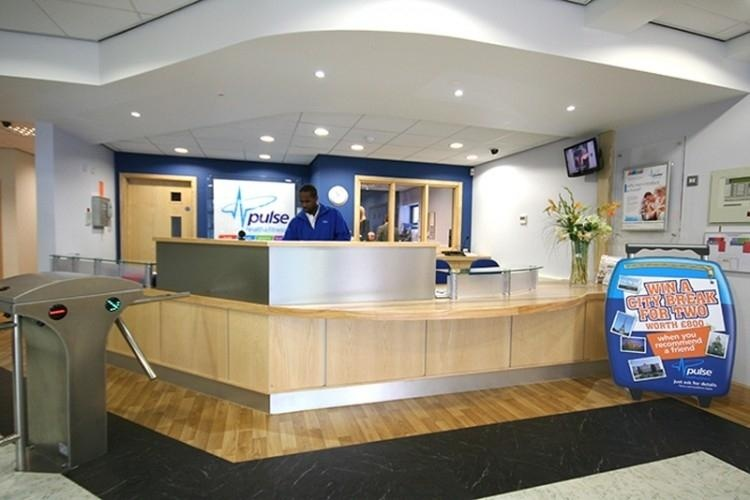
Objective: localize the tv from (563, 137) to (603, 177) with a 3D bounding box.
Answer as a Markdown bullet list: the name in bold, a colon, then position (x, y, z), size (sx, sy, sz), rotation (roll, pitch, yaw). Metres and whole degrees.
- **tv**: position (2.732, -1.210, 6.274), size (0.065, 0.507, 0.591), rotation (-8, 1, -24)

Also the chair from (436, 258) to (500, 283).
- **chair**: position (1.218, 0.211, 6.090), size (0.719, 0.320, 0.536), rotation (0, 0, -3)

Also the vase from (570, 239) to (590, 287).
- **vase**: position (2.386, 0.134, 5.618), size (0.180, 0.508, 0.140), rotation (2, 4, 34)

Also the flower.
- **flower**: position (2.445, -0.199, 5.705), size (0.667, 0.858, 0.625), rotation (-2, 10, 5)

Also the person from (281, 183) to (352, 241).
- **person**: position (-0.698, -0.360, 5.786), size (0.842, 0.919, 0.640), rotation (2, 11, 24)
